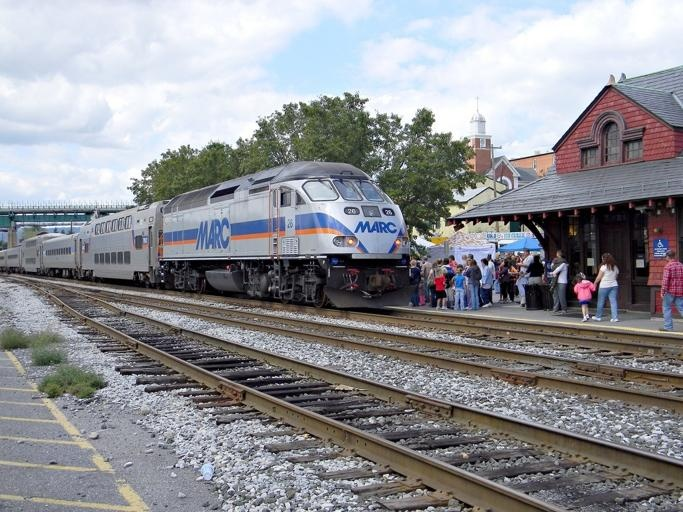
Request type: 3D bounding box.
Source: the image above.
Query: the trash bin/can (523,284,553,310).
[{"bbox_3d":[6.732,1.409,19.484,1.108,1.032,0.731,1,-2,-39],"label":"trash bin/can"}]

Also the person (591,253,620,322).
[{"bbox_3d":[7.409,0.878,16.007,0.665,1.238,1.205,-2,-1,24],"label":"person"}]

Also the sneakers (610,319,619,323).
[{"bbox_3d":[7.621,1.802,15.961,0.117,0.122,0.291,1,2,-14],"label":"sneakers"}]
